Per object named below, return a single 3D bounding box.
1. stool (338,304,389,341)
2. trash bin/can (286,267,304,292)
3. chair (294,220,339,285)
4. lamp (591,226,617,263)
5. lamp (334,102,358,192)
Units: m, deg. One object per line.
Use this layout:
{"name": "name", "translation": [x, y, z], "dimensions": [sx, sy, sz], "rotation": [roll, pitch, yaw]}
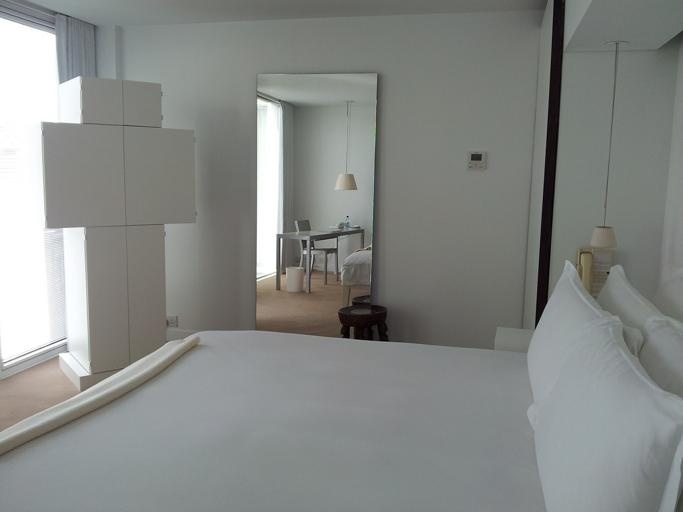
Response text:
{"name": "stool", "translation": [0.188, 0.508, 4.013], "dimensions": [0.298, 0.361, 0.311], "rotation": [4, 9, 44]}
{"name": "trash bin/can", "translation": [-0.402, 0.200, 4.340], "dimensions": [0.174, 0.218, 0.187], "rotation": [0, -2, -3]}
{"name": "chair", "translation": [-0.253, -0.081, 4.386], "dimensions": [0.294, 0.517, 0.248], "rotation": [10, 11, 34]}
{"name": "lamp", "translation": [1.130, -0.054, 2.204], "dimensions": [0.105, 0.128, 0.114], "rotation": [0, 4, 21]}
{"name": "lamp", "translation": [0.042, -0.920, 4.214], "dimensions": [0.189, 0.733, 0.198], "rotation": [7, 10, 34]}
